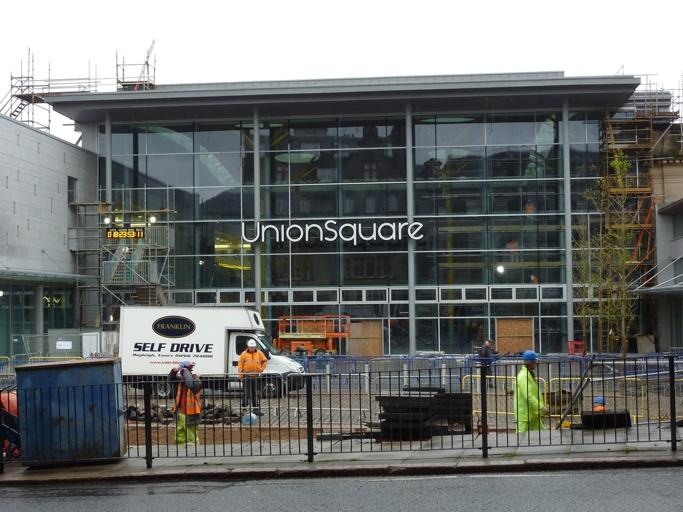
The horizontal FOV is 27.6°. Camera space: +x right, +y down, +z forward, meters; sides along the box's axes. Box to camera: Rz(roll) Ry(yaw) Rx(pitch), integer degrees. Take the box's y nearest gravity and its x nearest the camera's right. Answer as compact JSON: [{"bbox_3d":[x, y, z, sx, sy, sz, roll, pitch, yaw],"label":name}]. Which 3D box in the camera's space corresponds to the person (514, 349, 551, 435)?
[{"bbox_3d":[6.074,4.454,45.452,0.882,2.652,0.942,-6,-9,26],"label":"person"}]

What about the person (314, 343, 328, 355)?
[{"bbox_3d":[-0.868,4.553,68.280,0.532,0.525,0.950,0,-4,3],"label":"person"}]
